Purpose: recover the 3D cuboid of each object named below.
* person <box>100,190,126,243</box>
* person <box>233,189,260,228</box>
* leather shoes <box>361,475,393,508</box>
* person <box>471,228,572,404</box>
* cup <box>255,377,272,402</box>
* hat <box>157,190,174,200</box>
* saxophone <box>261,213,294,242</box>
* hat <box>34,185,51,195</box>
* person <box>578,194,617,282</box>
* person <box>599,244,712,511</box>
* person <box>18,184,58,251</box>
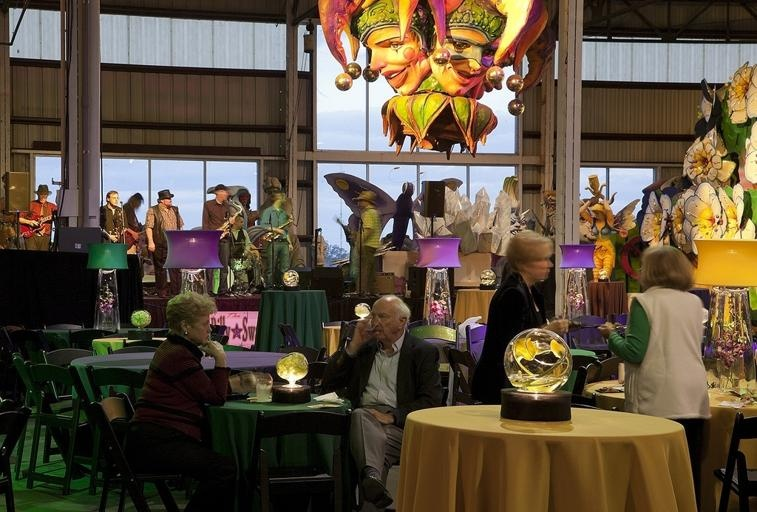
[{"bbox_3d":[-4.432,-0.646,15.860,0.407,0.860,2.799,0,1,-15],"label":"person"},{"bbox_3d":[-2.708,-0.904,19.662,0.374,0.876,0.570,-23,22,-32],"label":"person"},{"bbox_3d":[-0.034,1.908,7.862,0.287,0.175,0.133,43,19,-10],"label":"leather shoes"},{"bbox_3d":[1.102,0.510,7.996,0.656,1.416,0.342,1,1,4],"label":"person"},{"bbox_3d":[-1.014,1.151,8.316,0.157,0.213,0.170,1,-3,0],"label":"cup"},{"bbox_3d":[-3.570,-0.976,15.858,0.238,0.161,0.287,-2,6,-14],"label":"hat"},{"bbox_3d":[-1.618,-0.396,15.471,0.120,0.325,0.575,-9,14,24],"label":"saxophone"},{"bbox_3d":[-6.367,-1.210,18.035,0.267,0.141,0.331,6,12,-15],"label":"hat"},{"bbox_3d":[3.992,-0.244,17.446,0.700,1.585,0.489,2,-18,4],"label":"person"},{"bbox_3d":[2.336,1.032,8.016,0.851,2.214,0.412,1,1,10],"label":"person"},{"bbox_3d":[-6.102,-0.608,17.014,0.526,1.263,0.168,15,10,13],"label":"person"}]
